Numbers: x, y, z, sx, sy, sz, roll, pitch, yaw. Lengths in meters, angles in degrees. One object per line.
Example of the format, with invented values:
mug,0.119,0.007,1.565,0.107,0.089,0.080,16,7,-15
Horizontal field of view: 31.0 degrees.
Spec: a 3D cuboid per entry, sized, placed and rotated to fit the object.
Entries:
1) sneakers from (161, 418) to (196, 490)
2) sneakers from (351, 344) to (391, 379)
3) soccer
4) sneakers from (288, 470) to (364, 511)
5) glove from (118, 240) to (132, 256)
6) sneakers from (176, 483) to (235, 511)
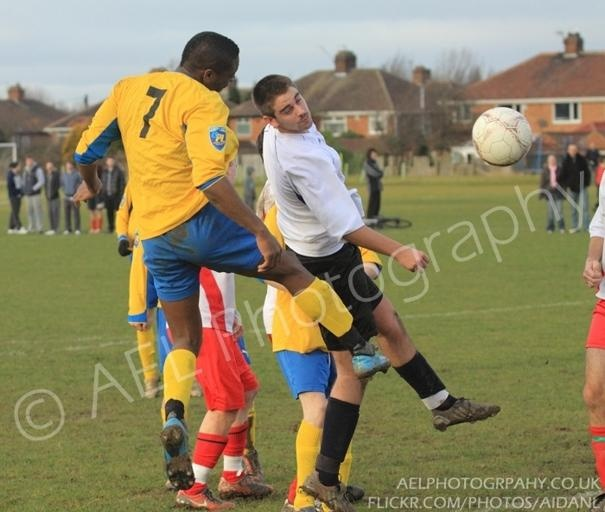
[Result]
sneakers,-0.734,1.186,6.518,0.160,0.461,0.219,-8,-7,-5
sneakers,0.425,0.625,6.698,0.125,0.217,0.304,1,10,40
soccer,1.374,-0.801,7.740,0.384,0.426,0.411,-2,-3,-8
sneakers,0.113,1.468,6.927,0.547,0.243,0.189,-2,2,-20
glove,-1.330,-0.051,8.251,0.090,0.113,0.116,6,-18,-24
sneakers,-0.640,1.521,6.939,0.432,0.198,0.149,3,4,-10
